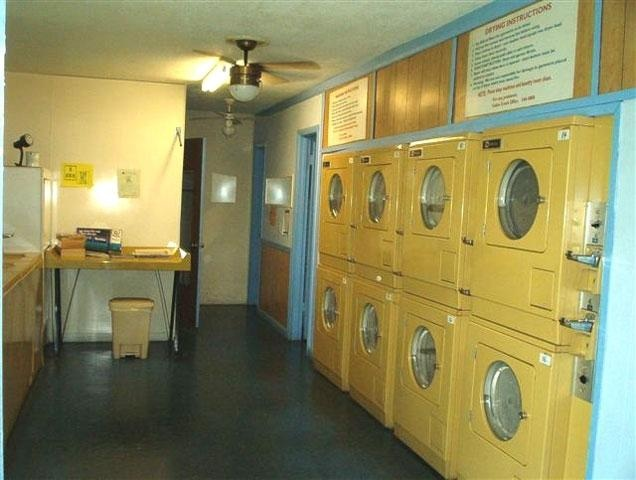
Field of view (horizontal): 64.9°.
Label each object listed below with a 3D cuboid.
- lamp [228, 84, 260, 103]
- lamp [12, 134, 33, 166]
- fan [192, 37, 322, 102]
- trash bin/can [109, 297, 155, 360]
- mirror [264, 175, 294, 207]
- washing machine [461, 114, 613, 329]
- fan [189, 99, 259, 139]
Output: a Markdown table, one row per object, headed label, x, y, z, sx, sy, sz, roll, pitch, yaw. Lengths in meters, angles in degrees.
| label | x | y | z | sx | sy | sz | roll | pitch | yaw |
| --- | --- | --- | --- | --- | --- | --- | --- | --- | --- |
| lamp | -0.633 | -1.261 | 4.275 | 0.209 | 0.103 | 0.217 | 0 | 4 | -7 |
| lamp | -2.969 | -0.905 | 5.041 | 0.146 | 0.318 | 0.769 | -2 | 7 | -30 |
| fan | -0.672 | -1.452 | 4.309 | 1.012 | 0.455 | 1.068 | 3 | 5 | -14 |
| trash bin/can | -1.878 | 0.893 | 5.319 | 0.521 | 0.714 | 0.535 | 1 | 9 | -11 |
| mirror | -0.498 | -0.621 | 6.396 | 0.021 | 0.365 | 0.939 | -1 | 7 | -25 |
| washing machine | 1.128 | -0.122 | 2.625 | 0.662 | 1.012 | 0.310 | 6 | 8 | 33 |
| fan | -1.328 | -1.776 | 7.230 | 0.608 | 0.317 | 0.617 | -3 | 5 | -32 |
